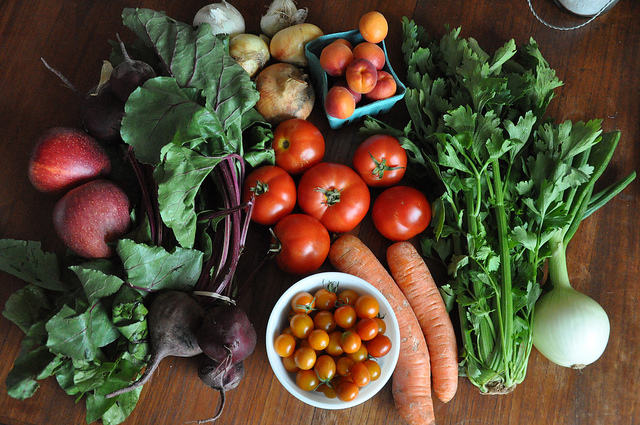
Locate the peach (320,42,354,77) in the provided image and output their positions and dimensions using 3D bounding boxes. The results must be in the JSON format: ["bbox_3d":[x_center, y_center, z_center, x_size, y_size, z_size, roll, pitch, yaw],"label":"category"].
[{"bbox_3d":[0.051,-0.480,1.975,0.087,0.098,0.101,-10,76,16],"label":"peach"}]

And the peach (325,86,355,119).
[{"bbox_3d":[0.060,-0.349,1.945,0.098,0.112,0.091,21,34,36],"label":"peach"}]

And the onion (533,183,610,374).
[{"bbox_3d":[0.767,0.192,1.939,0.214,0.204,0.622,-6,95,12],"label":"onion"}]

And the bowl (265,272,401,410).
[{"bbox_3d":[0.056,0.400,1.980,0.354,0.210,0.460,4,93,-2],"label":"bowl"}]

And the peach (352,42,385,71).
[{"bbox_3d":[0.156,-0.498,1.993,0.078,0.083,0.098,0,94,6],"label":"peach"}]

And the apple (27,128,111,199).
[{"bbox_3d":[-0.757,-0.148,1.846,0.193,0.214,0.204,-4,42,-21],"label":"apple"}]

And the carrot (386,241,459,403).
[{"bbox_3d":[0.392,0.341,1.986,0.114,0.114,0.488,-13,92,18],"label":"carrot"}]

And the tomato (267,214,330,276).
[{"bbox_3d":[-0.065,0.103,1.946,0.184,0.102,0.179,3,77,-3],"label":"tomato"}]

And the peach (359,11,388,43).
[{"bbox_3d":[0.168,-0.581,1.998,0.083,0.082,0.093,-36,104,0],"label":"peach"}]

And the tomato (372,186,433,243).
[{"bbox_3d":[0.252,0.009,1.939,0.149,0.131,0.172,14,69,13],"label":"tomato"}]

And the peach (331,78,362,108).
[{"bbox_3d":[0.088,-0.386,1.998,0.075,0.082,0.111,-6,96,8],"label":"peach"}]

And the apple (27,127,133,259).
[{"bbox_3d":[-0.724,-0.049,1.917,0.209,0.247,0.468,-25,73,-12],"label":"apple"}]

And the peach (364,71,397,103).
[{"bbox_3d":[0.196,-0.400,1.992,0.082,0.086,0.100,0,104,-35],"label":"peach"}]

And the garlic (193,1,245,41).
[{"bbox_3d":[-0.330,-0.629,2.014,0.172,0.085,0.135,23,77,2],"label":"garlic"}]

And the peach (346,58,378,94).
[{"bbox_3d":[0.126,-0.419,1.895,0.080,0.092,0.104,2,110,5],"label":"peach"}]
